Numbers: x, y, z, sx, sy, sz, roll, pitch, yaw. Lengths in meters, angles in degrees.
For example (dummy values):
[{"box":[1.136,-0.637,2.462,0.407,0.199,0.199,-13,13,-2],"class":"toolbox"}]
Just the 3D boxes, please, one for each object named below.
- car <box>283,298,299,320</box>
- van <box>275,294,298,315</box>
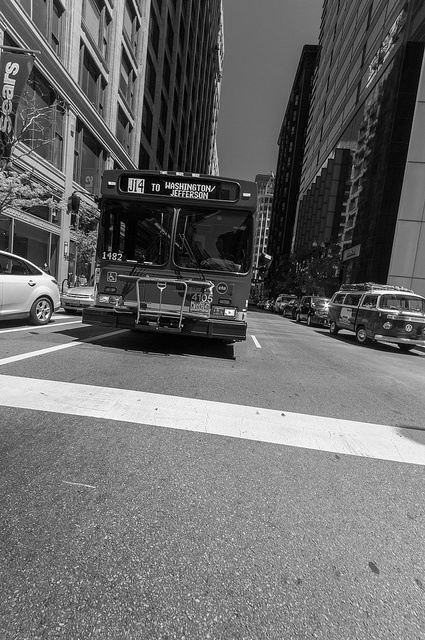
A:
[{"box":[6.116,-0.990,32.149,0.979,1.241,2.022,1,-4,12],"class":"car"},{"box":[7.374,-1.713,41.228,1.530,1.867,2.989,0,-2,3],"class":"van"}]
